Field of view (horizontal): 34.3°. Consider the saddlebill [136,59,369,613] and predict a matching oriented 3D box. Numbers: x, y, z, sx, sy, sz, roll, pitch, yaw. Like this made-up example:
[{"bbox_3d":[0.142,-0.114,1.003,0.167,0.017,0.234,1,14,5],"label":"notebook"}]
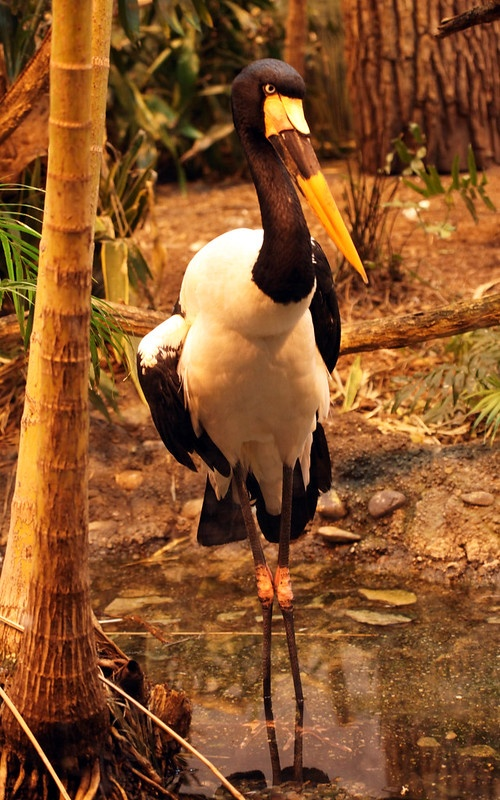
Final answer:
[{"bbox_3d":[-0.021,-0.111,2.555,0.693,1.709,1.083,-6,11,1],"label":"saddlebill"}]
